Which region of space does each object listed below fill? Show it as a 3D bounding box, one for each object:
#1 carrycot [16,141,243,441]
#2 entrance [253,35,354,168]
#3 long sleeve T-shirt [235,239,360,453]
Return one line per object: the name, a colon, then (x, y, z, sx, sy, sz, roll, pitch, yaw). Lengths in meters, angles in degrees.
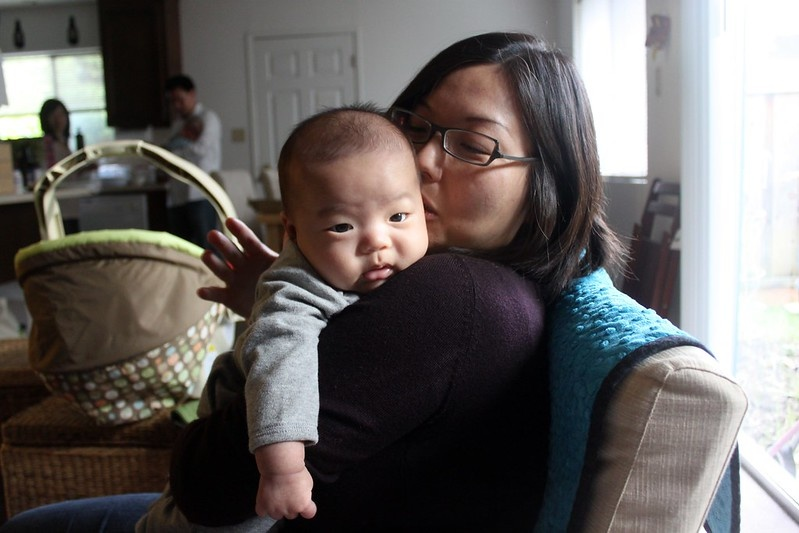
carrycot: (-0.655, 0.101, 2.296, 0.683, 0.876, 0.843, -3, -12, 6)
entrance: (-0.971, -1.671, 6.915, 0.979, 0.178, 1.805, -6, -28, -10)
long sleeve T-shirt: (-0.235, 0.174, 1.511, 0.250, 0.403, 0.099, -20, -28, 25)
